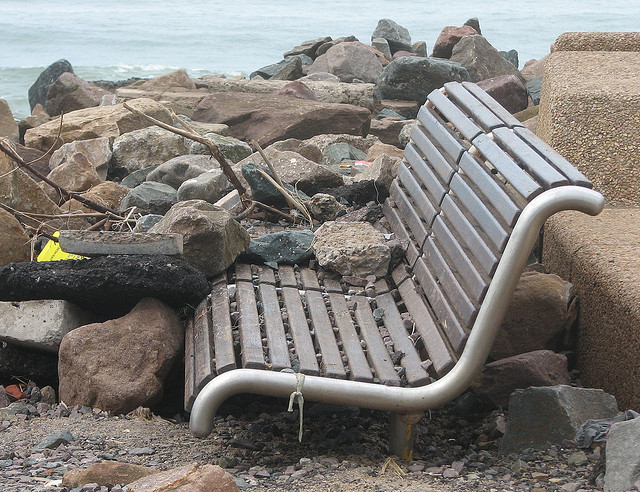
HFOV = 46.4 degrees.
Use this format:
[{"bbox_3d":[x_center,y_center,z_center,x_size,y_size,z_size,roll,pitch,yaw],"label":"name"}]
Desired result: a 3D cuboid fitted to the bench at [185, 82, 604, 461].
[{"bbox_3d":[0.249,0.037,5.056,2.248,1.611,2.897,-4,21,-1],"label":"bench"}]
